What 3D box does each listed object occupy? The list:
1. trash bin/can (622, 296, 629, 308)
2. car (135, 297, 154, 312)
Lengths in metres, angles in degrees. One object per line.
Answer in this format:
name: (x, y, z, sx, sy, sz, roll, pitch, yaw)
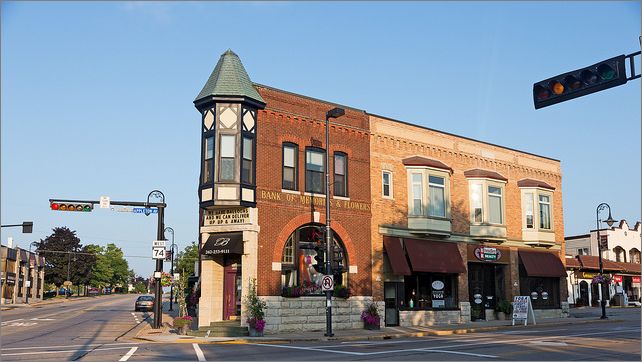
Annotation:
trash bin/can: (39.753, 15.731, 95.304, 0.856, 1.320, 1.552, -3, -7, 20)
car: (-20.489, 14.090, 84.719, 1.901, 1.789, 2.635, 5, -15, -16)
